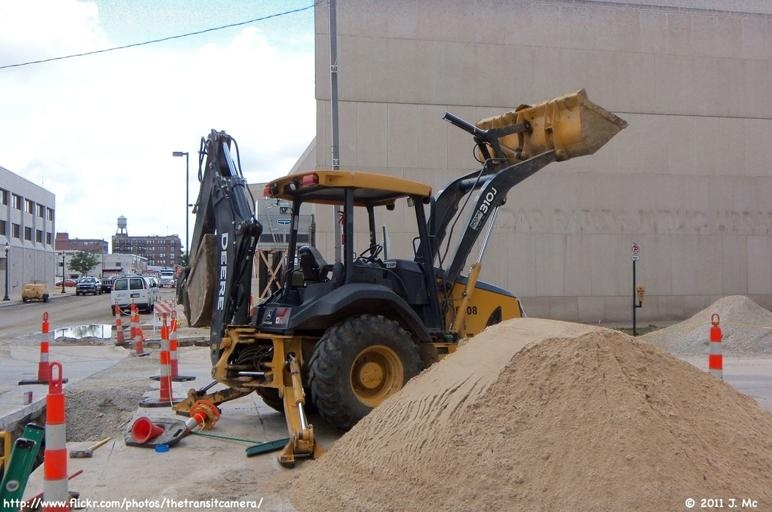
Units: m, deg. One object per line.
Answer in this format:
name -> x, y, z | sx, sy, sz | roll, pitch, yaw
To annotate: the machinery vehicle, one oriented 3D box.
machinery vehicle -> 0.073, 0.109, 17.514 | 8.648, 6.728, 5.585 | -1, 0, -30
